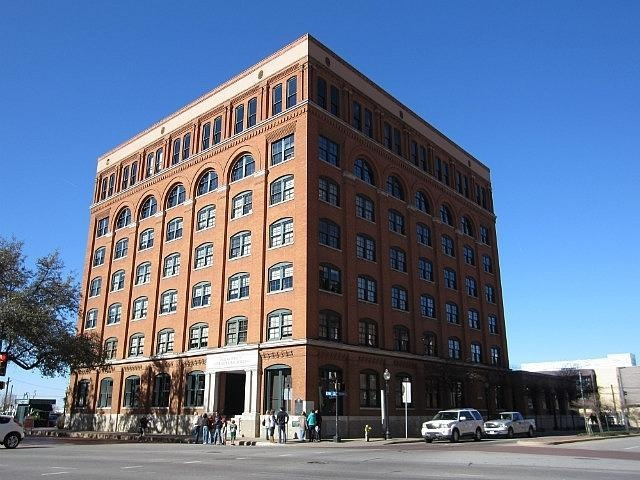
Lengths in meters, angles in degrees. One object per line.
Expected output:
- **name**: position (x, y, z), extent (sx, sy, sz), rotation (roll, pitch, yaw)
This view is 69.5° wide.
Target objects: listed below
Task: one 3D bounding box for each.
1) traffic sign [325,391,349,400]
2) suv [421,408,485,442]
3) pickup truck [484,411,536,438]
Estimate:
- **traffic sign**: position (1.202, 11.800, 35.161), extent (1.497, 0.423, 1.647), rotation (-7, -13, 25)
- **suv**: position (9.574, 13.184, 32.876), extent (4.461, 2.181, 1.905), rotation (14, -28, -32)
- **pickup truck**: position (15.596, 15.171, 37.992), extent (4.828, 1.982, 2.142), rotation (19, -31, -38)
